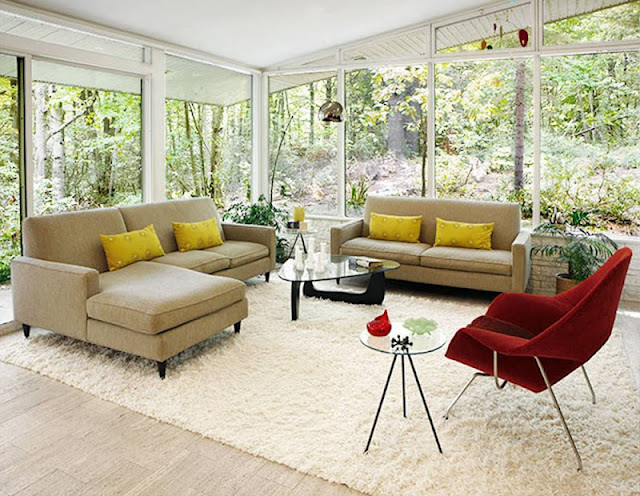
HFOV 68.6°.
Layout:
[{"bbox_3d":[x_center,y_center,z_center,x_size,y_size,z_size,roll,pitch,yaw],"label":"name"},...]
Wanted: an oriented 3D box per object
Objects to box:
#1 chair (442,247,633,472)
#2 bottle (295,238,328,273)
[{"bbox_3d":[1.255,0.544,2.712,0.814,1.109,0.828,4,11,32],"label":"chair"},{"bbox_3d":[-0.090,0.079,4.667,0.384,0.264,0.466,0,-1,14],"label":"bottle"}]
